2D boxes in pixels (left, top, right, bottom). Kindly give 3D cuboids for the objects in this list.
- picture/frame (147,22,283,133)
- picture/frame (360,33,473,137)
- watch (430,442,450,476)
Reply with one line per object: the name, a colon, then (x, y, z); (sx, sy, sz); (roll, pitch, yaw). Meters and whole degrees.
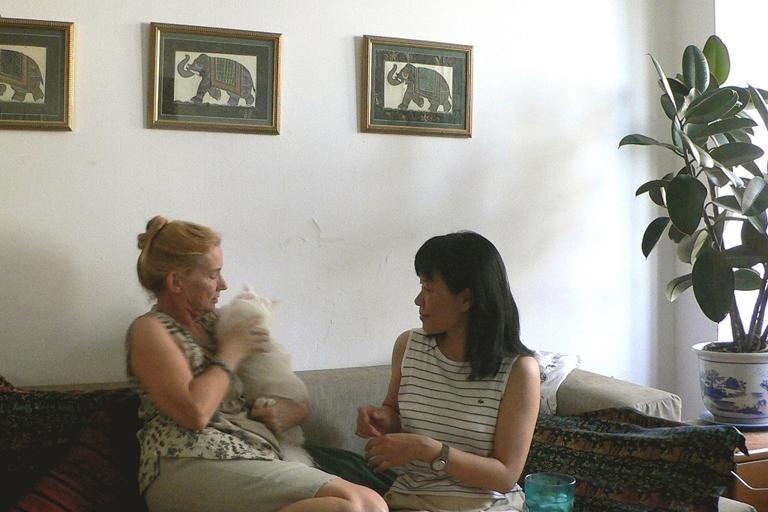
picture/frame: (-0.780, -0.796, 3.054); (0.479, 0.406, 0.033); (2, -2, -15)
picture/frame: (0.132, -0.814, 3.255); (0.476, 0.399, 0.040); (2, -2, -17)
watch: (0.204, 0.717, 2.399); (0.064, 0.103, 0.109); (13, -27, 11)
